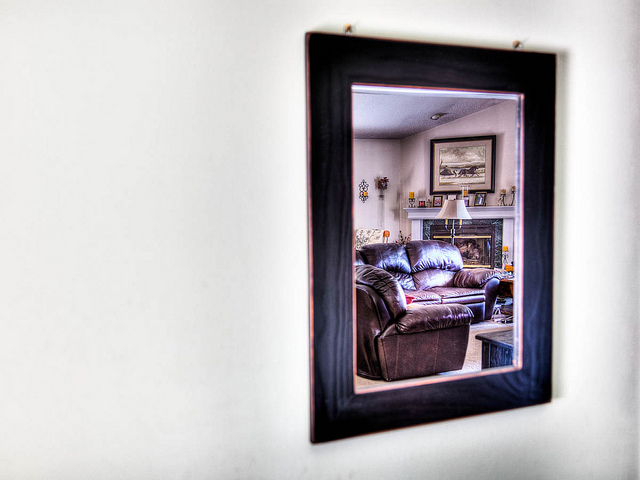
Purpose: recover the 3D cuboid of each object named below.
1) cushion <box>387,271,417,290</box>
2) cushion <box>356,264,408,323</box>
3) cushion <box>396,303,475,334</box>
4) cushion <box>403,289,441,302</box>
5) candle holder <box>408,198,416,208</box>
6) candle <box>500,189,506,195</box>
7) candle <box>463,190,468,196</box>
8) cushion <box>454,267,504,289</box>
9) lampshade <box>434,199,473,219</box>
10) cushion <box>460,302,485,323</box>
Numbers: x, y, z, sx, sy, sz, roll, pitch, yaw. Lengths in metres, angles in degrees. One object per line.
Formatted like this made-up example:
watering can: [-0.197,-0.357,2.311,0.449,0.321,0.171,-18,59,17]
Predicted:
cushion: [0.813,0.391,5.235,0.205,0.200,0.082,-4,-1,-27]
cushion: [0.402,0.307,3.448,0.130,0.340,0.311,-23,43,6]
cushion: [0.708,0.496,3.439,0.555,0.146,0.162,-4,6,-26]
cushion: [0.897,0.491,4.941,0.301,0.057,0.462,-2,5,-10]
candle holder: [1.205,-0.480,7.087,0.111,0.116,0.094,3,-3,-30]
candle: [2.009,-0.525,5.972,0.044,0.040,0.043,2,2,26]
candle: [1.678,-0.534,6.329,0.056,0.081,0.055,-4,7,-30]
cushion: [1.484,0.363,5.231,0.257,0.104,0.245,-3,2,-30]
lampshade: [1.353,-0.296,5.567,0.241,0.127,0.240,-3,7,-24]
cushion: [1.402,0.658,5.013,0.252,0.224,0.262,1,4,14]
